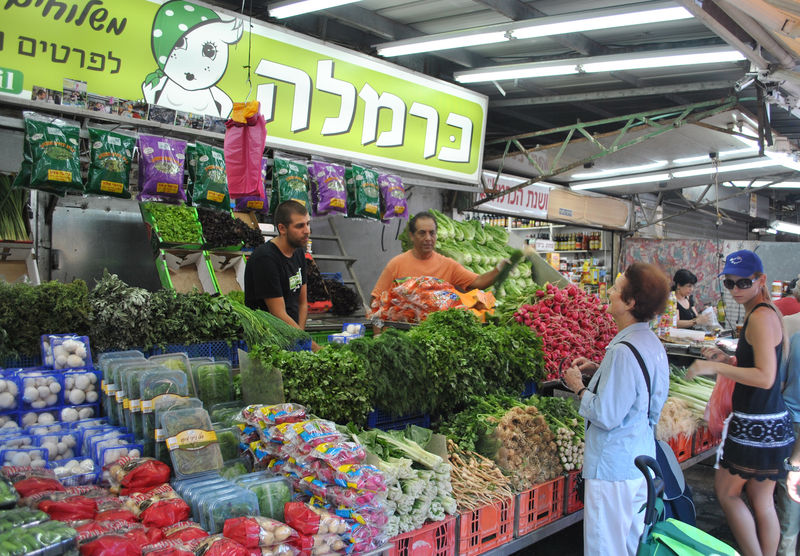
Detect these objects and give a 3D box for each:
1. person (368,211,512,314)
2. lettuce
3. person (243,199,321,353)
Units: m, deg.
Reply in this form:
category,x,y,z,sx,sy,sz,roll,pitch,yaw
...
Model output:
category,x,y,z,sx,sy,sz,roll,pitch,yaw
person,0.299,-0.141,5.295,1.104,0.934,1.128,1,4,-2
lettuce,0.438,-0.175,5.495,1.166,0.909,0.607,1,4,-27
person,-0.889,-0.072,4.804,0.508,1.323,0.576,5,5,40
